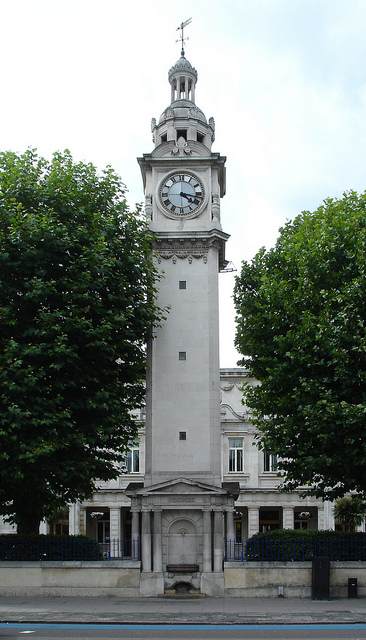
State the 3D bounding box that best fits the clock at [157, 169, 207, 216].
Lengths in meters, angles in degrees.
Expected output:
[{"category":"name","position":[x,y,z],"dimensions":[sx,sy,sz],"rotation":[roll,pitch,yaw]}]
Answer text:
[{"category":"clock","position":[-0.047,-5.219,53.802],"dimensions":[1.891,2.168,0.127],"rotation":[0,-23,1]}]
